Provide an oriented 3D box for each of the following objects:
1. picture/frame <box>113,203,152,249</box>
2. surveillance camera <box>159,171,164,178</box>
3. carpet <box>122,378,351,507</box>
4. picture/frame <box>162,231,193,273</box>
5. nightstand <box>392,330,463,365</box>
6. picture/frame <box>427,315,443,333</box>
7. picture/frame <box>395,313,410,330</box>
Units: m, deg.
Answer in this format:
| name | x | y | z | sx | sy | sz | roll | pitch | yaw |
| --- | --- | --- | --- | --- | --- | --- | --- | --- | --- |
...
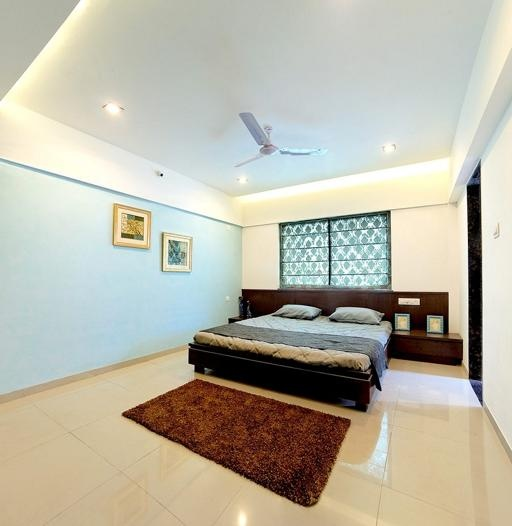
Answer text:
| name | x | y | z | sx | sy | sz | roll | pitch | yaw |
| --- | --- | --- | --- | --- | --- | --- | --- | --- | --- |
| picture/frame | -1.493 | -0.448 | 4.408 | 0.034 | 0.602 | 0.703 | 0 | -1 | 28 |
| surveillance camera | -1.232 | -1.151 | 4.813 | 0.053 | 0.070 | 0.130 | 0 | 9 | -2 |
| carpet | -0.164 | 1.264 | 2.950 | 1.614 | 0.078 | 1.080 | 6 | 4 | 29 |
| picture/frame | -1.095 | -0.158 | 5.063 | 0.034 | 0.521 | 0.495 | -2 | -4 | 30 |
| nightstand | 2.163 | 1.070 | 4.641 | 0.732 | 0.375 | 0.489 | 2 | -6 | 20 |
| picture/frame | 2.289 | 0.773 | 4.697 | 0.170 | 0.263 | 0.026 | -7 | -24 | 44 |
| picture/frame | 1.944 | 0.774 | 4.900 | 0.196 | 0.196 | 0.210 | 3 | 9 | 21 |
